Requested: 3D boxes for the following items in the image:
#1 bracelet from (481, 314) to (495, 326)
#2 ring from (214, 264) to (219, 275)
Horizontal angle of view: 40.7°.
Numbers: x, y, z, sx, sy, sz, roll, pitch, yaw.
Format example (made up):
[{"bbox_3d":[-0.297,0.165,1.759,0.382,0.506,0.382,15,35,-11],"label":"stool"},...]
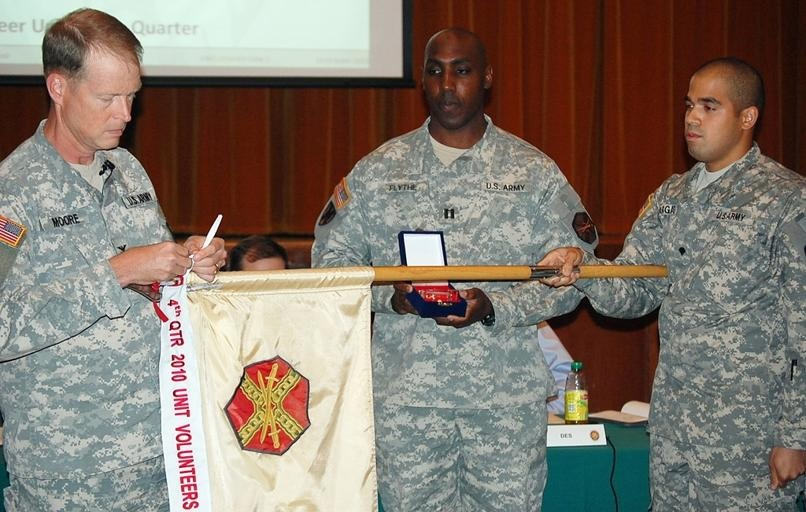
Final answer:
[{"bbox_3d":[0.389,0.286,4.870,0.052,0.049,0.013,-3,10,12],"label":"bracelet"},{"bbox_3d":[-0.782,0.059,4.560,0.012,0.032,0.024,-2,20,15],"label":"ring"}]
